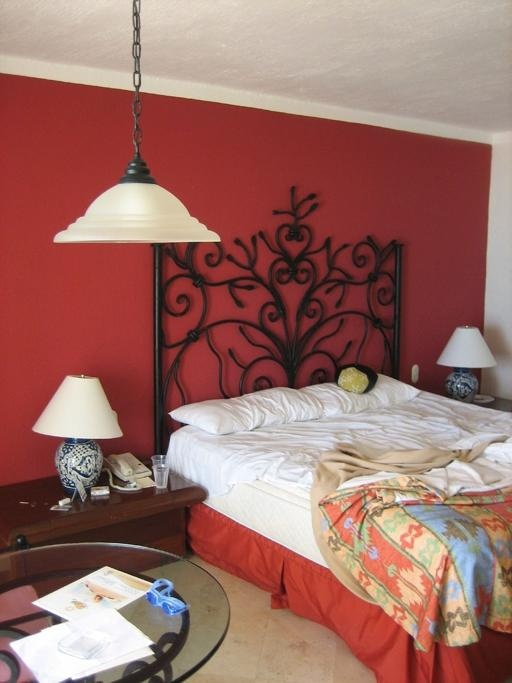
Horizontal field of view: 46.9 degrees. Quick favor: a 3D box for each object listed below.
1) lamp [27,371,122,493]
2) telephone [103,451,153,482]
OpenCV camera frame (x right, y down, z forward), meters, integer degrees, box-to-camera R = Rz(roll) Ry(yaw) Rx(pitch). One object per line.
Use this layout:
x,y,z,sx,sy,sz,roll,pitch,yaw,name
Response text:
-0.798,0.406,2.873,0.534,0.661,0.507,3,4,-15,lamp
-0.631,0.609,2.884,0.123,0.047,0.168,5,15,-40,telephone
